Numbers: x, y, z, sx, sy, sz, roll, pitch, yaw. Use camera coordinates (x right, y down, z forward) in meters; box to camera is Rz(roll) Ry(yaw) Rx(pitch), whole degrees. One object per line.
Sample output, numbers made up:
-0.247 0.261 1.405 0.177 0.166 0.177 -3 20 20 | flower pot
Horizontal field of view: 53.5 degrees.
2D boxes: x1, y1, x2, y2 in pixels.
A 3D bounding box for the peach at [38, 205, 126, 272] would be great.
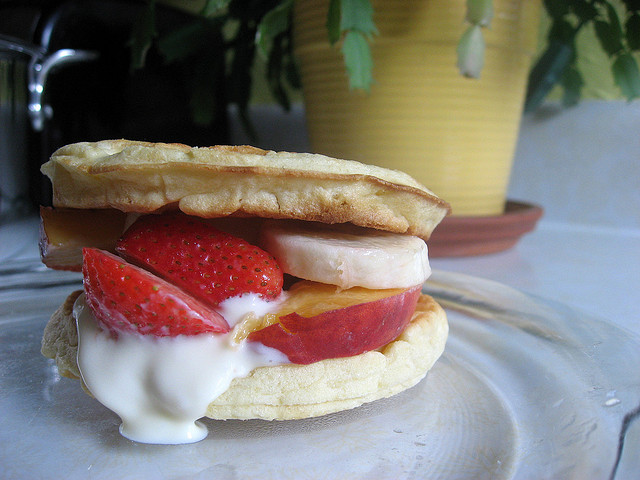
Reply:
-0.553 -0.019 1.493 0.184 0.149 0.124 2 19 0 | peach
